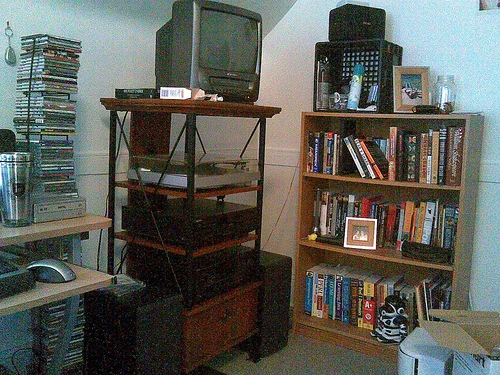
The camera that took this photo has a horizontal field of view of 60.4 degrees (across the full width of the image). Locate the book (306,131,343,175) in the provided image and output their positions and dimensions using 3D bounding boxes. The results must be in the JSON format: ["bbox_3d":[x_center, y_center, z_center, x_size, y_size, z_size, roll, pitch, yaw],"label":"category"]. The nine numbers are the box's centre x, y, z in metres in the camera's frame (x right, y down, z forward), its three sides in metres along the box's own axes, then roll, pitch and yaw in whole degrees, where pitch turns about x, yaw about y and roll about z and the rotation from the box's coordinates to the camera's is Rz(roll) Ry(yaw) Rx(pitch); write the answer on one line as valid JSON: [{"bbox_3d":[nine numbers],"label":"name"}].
[{"bbox_3d":[0.533,-0.240,2.832,0.235,0.311,0.316,6,6,29],"label":"book"}]

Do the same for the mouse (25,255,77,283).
[{"bbox_3d":[-0.770,0.308,1.652,0.153,0.053,0.091,11,7,5],"label":"mouse"}]

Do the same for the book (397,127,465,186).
[{"bbox_3d":[1.001,-0.189,2.413,0.362,0.332,0.068,9,13,28],"label":"book"}]

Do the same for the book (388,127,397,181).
[{"bbox_3d":[0.828,-0.189,2.500,0.050,0.362,0.309,2,5,20],"label":"book"}]

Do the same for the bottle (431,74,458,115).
[{"bbox_3d":[1.146,-0.573,2.529,0.133,0.209,0.135,-8,32,5],"label":"bottle"}]

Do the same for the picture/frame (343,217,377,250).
[{"bbox_3d":[0.676,0.287,2.615,0.200,0.194,0.014,3,-5,11],"label":"picture/frame"}]

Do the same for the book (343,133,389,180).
[{"bbox_3d":[0.692,-0.183,2.583,0.273,0.238,0.133,4,12,11],"label":"book"}]

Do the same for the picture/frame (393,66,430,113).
[{"bbox_3d":[0.924,-0.562,2.468,0.286,0.364,0.027,1,-9,-2],"label":"picture/frame"}]

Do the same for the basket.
[{"bbox_3d":[0.682,-0.583,2.816,0.445,0.500,0.551,2,-18,-4],"label":"basket"}]
